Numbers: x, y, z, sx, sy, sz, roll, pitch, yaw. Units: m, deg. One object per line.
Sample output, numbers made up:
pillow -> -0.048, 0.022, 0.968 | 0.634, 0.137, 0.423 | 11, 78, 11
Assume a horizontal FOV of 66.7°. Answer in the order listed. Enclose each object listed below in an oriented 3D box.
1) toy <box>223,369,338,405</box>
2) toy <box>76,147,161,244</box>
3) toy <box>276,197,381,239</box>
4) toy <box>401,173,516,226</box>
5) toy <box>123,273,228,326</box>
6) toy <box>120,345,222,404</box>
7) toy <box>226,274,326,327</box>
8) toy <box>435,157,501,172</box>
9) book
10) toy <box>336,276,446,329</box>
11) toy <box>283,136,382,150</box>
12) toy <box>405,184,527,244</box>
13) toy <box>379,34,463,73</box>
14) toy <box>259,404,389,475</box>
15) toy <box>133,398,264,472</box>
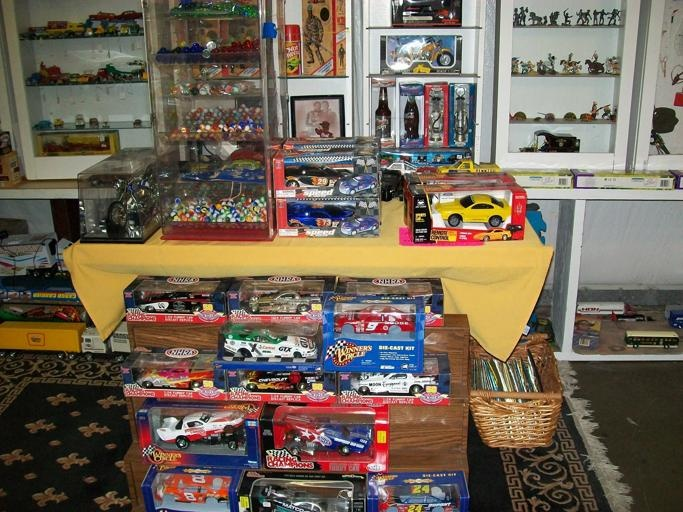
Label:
toy -> -0.251, 0.628, 2.515 | 0.583, 0.138, 0.150 | -3, -24, 18
toy -> -1.227, -0.310, 2.857 | 0.374, 0.280, 0.540 | -2, 16, -7
toy -> -0.064, -0.191, 2.599 | 0.597, 0.193, 0.085 | 2, 4, 33
toy -> 0.589, -0.245, 2.521 | 0.464, 0.114, 0.352 | 0, 20, 2
toy -> -0.784, 0.225, 2.577 | 0.521, 0.209, 0.183 | -1, 21, 5
toy -> -0.800, 0.579, 2.568 | 0.492, 0.201, 0.208 | -1, 20, 3
toy -> -0.297, 0.209, 2.537 | 0.471, 0.178, 0.248 | 0, 19, 7
toy -> 0.736, -0.499, 2.973 | 0.383, 0.079, 0.166 | 0, 20, 0
book -> 1.019, 0.734, 3.215 | 0.355, 0.074, 0.279 | 5, 22, 2
toy -> 0.162, 0.238, 2.439 | 0.679, 0.188, 0.210 | 8, -14, -38
toy -> -0.049, -0.580, 2.701 | 0.406, 0.038, 0.176 | -2, 19, -3
toy -> 0.553, -0.185, 2.578 | 0.676, 0.219, 0.326 | -3, 7, -26
toy -> 0.524, -1.381, 3.587 | 0.739, 0.257, 0.088 | -15, 32, -31
toy -> -0.084, 0.896, 2.505 | 0.550, 0.176, 0.132 | 0, 7, 2
toy -> -0.680, 0.876, 2.548 | 0.584, 0.196, 0.142 | 1, 10, 4
